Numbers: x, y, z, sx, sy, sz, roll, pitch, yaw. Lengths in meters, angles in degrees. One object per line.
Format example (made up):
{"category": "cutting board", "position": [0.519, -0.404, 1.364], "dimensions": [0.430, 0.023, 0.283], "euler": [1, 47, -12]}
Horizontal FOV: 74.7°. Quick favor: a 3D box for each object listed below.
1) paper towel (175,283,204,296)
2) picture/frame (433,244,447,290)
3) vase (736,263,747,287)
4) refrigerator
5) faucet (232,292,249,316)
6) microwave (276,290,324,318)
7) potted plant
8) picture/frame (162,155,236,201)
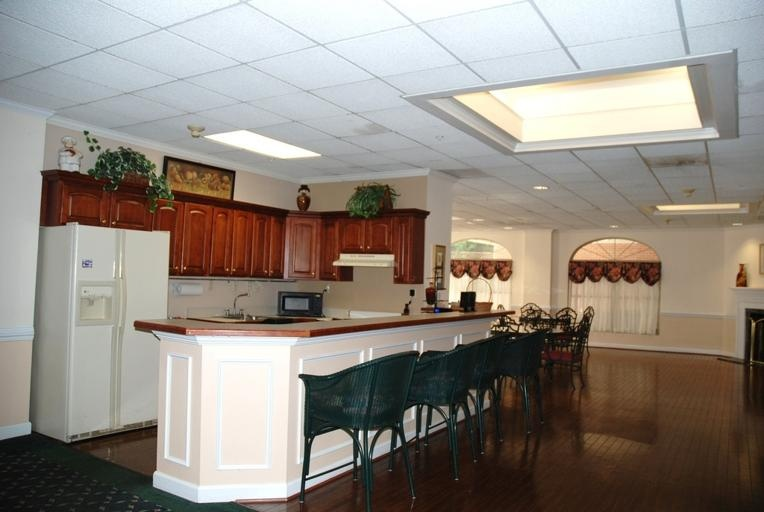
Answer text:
{"category": "paper towel", "position": [-2.677, 0.501, 7.121], "dimensions": [0.229, 0.174, 0.471], "euler": [-1, -3, 31]}
{"category": "picture/frame", "position": [0.961, 0.213, 8.152], "dimensions": [0.063, 0.707, 0.415], "euler": [2, -1, -22]}
{"category": "vase", "position": [8.825, 0.506, 12.312], "dimensions": [0.228, 0.566, 0.320], "euler": [-1, -3, 34]}
{"category": "refrigerator", "position": [-3.197, 0.840, 5.718], "dimensions": [1.378, 2.327, 0.571], "euler": [1, -2, -23]}
{"category": "faucet", "position": [-2.195, 0.776, 7.835], "dimensions": [0.175, 0.339, 0.319], "euler": [0, -2, 5]}
{"category": "microwave", "position": [-1.271, 0.798, 7.988], "dimensions": [0.709, 0.412, 0.388], "euler": [0, -10, -1]}
{"category": "potted plant", "position": [-3.115, -1.021, 6.209], "dimensions": [0.993, 0.956, 0.523], "euler": [1, -3, -29]}
{"category": "picture/frame", "position": [-2.629, -1.090, 7.127], "dimensions": [0.054, 0.407, 0.795], "euler": [5, 3, 43]}
